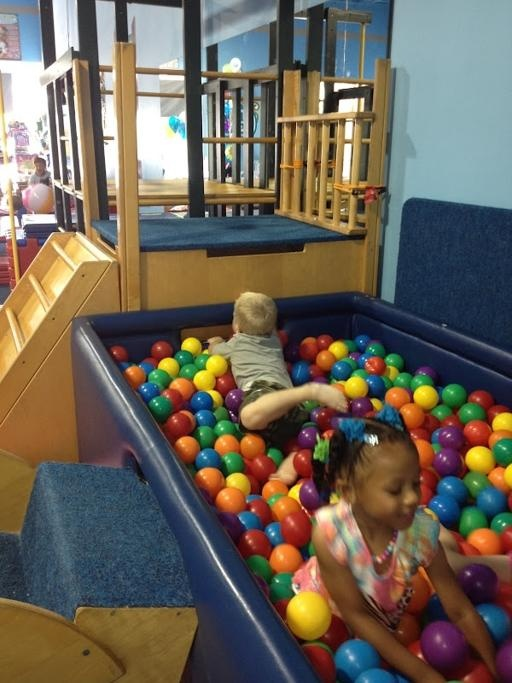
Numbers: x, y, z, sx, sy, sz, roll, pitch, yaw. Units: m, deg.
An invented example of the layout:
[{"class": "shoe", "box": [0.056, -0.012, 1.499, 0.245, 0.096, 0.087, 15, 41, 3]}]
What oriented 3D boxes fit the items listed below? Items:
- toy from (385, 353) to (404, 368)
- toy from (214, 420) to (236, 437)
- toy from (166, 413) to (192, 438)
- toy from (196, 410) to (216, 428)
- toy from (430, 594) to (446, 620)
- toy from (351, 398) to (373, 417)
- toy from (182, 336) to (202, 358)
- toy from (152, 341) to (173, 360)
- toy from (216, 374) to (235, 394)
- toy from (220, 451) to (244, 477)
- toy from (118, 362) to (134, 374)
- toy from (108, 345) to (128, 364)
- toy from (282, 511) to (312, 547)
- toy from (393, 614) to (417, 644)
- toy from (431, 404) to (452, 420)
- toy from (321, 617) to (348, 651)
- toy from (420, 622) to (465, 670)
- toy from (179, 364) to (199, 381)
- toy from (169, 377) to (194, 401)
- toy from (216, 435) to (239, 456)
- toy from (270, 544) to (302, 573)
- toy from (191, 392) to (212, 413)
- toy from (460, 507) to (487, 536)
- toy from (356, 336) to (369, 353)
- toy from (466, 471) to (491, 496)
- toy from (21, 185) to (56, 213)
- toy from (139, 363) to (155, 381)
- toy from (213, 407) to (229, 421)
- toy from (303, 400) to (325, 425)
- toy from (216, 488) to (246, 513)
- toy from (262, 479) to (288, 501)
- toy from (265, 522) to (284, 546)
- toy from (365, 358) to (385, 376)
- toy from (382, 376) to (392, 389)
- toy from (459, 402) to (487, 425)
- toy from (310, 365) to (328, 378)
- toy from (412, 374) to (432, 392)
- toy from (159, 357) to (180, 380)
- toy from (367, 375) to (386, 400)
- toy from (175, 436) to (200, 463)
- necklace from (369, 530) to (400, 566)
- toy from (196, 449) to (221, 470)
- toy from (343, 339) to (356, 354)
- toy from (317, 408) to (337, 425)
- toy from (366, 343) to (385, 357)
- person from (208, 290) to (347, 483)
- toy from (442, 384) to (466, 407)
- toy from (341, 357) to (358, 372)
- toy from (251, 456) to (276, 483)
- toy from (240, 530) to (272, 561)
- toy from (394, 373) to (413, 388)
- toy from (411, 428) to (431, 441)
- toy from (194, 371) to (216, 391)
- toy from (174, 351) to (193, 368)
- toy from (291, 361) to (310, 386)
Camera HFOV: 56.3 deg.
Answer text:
[{"class": "toy", "box": [0.603, 0.085, 2.280, 0.088, 0.066, 0.080, 14, 10, 38]}, {"class": "toy", "box": [-0.128, 0.340, 1.908, 0.060, 0.069, 0.059, 2, 30, -7]}, {"class": "toy", "box": [-0.282, 0.313, 1.850, 0.081, 0.097, 0.084, -7, 32, 14]}, {"class": "toy", "box": [-0.211, 0.311, 2.017, 0.065, 0.075, 0.066, 5, 50, 26]}, {"class": "toy", "box": [0.351, 0.550, 1.005, 0.038, 0.040, 0.046, -23, -29, 16]}, {"class": "toy", "box": [0.387, 0.258, 1.908, 0.090, 0.061, 0.181, 10, 8, 12]}, {"class": "toy", "box": [-0.304, 0.028, 2.387, 0.085, 0.085, 0.098, -15, 24, 2]}, {"class": "toy", "box": [-0.453, 0.039, 2.377, 0.086, 0.085, 0.100, -16, -3, 43]}, {"class": "toy", "box": [-0.146, 0.187, 2.157, 0.075, 0.090, 0.076, 4, 23, 14]}, {"class": "toy", "box": [-0.089, 0.426, 1.718, 0.069, 0.079, 0.068, -6, 18, -2]}, {"class": "toy", "box": [-0.563, 0.110, 2.144, 0.045, 0.052, 0.044, 3, 22, -20]}, {"class": "toy", "box": [-0.608, 0.046, 2.233, 0.071, 0.083, 0.072, -1, 43, 25]}, {"class": "toy", "box": [0.094, 0.520, 1.319, 0.081, 0.097, 0.070, 9, 7, 6]}, {"class": "toy", "box": [0.285, 0.579, 0.970, 0.043, 0.051, 0.043, 10, -22, 11]}, {"class": "toy", "box": [0.691, 0.274, 1.906, 0.056, 0.065, 0.056, -27, 0, -22]}, {"class": "toy", "box": [0.142, 0.559, 0.924, 0.040, 0.028, 0.051, -38, 27, 2]}, {"class": "toy", "box": [0.297, 0.517, 0.815, 0.063, 0.076, 0.063, -2, 20, 35]}, {"class": "toy", "box": [-0.310, 0.131, 2.229, 0.068, 0.079, 0.068, 9, 24, -11]}, {"class": "toy", "box": [-0.314, 0.194, 2.096, 0.098, 0.112, 0.093, -7, 3, -15]}, {"class": "toy", "box": [-0.114, 0.383, 1.796, 0.067, 0.077, 0.067, 2, 28, -3]}, {"class": "toy", "box": [0.062, 0.553, 1.225, 0.056, 0.057, 0.066, 14, -13, 31]}, {"class": "toy", "box": [-0.230, 0.254, 2.090, 0.083, 0.096, 0.083, 1, 34, -4]}, {"class": "toy", "box": [0.582, 0.511, 1.398, 0.067, 0.081, 0.067, -6, 2, -3]}, {"class": "toy", "box": [0.493, 0.003, 2.493, 0.073, 0.087, 0.074, -1, 26, 4]}, {"class": "toy", "box": [0.656, 0.446, 1.529, 0.053, 0.055, 0.070, 2, 20, -5]}, {"class": "toy", "box": [-3.055, -2.102, 6.973, 0.465, 0.447, 0.337, 7, 7, -7]}, {"class": "toy", "box": [-0.493, 0.131, 2.198, 0.073, 0.084, 0.073, 1, 6, 3]}, {"class": "toy", "box": [-0.150, 0.301, 2.027, 0.042, 0.042, 0.056, 3, 28, -13]}, {"class": "toy", "box": [0.199, 0.285, 1.955, 0.078, 0.093, 0.079, -4, -23, -2]}, {"class": "toy", "box": [-0.082, 0.473, 1.442, 0.074, 0.064, 0.065, 11, -2, 43]}, {"class": "toy", "box": [0.048, 0.490, 1.618, 0.061, 0.070, 0.061, -1, 16, -4]}, {"class": "toy", "box": [0.038, 0.538, 1.353, 0.043, 0.050, 0.042, -11, 63, -7]}, {"class": "toy", "box": [0.503, 0.106, 2.187, 0.079, 0.079, 0.079, 0, -12, -6]}, {"class": "toy", "box": [0.543, 0.179, 2.150, 0.031, 0.036, 0.031, -30, 31, 4]}, {"class": "toy", "box": [0.746, 0.259, 1.778, 0.080, 0.093, 0.077, 13, -4, 8]}, {"class": "toy", "box": [0.264, 0.139, 2.291, 0.057, 0.066, 0.057, -31, 11, -19]}, {"class": "toy", "box": [0.649, 0.163, 2.029, 0.067, 0.078, 0.068, 3, 29, -7]}, {"class": "toy", "box": [-0.397, 0.111, 2.233, 0.089, 0.102, 0.089, -8, 15, -22]}, {"class": "toy", "box": [0.486, 0.193, 2.155, 0.093, 0.111, 0.094, -7, 13, 0]}, {"class": "toy", "box": [-0.245, 0.384, 1.728, 0.085, 0.097, 0.083, -1, 12, -6]}, {"class": "necklace", "box": [0.209, 0.359, 0.840, 0.011, 0.049, 0.040, 36, 30, 17]}, {"class": "toy", "box": [-0.171, 0.406, 1.679, 0.070, 0.080, 0.070, 0, 36, 2]}, {"class": "toy", "box": [0.444, 0.017, 2.451, 0.061, 0.072, 0.060, -19, -16, -3]}, {"class": "toy", "box": [0.250, 0.285, 1.890, 0.061, 0.070, 0.060, -3, 7, -6]}, {"class": "toy", "box": [0.534, 0.031, 2.356, 0.076, 0.068, 0.109, 15, 10, 41]}, {"class": "person", "box": [0.011, 0.139, 1.977, 0.347, 0.328, 0.802, 2, 34, -25]}, {"class": "toy", "box": [0.729, 0.206, 1.922, 0.100, 0.087, 0.085, -1, 7, 7]}, {"class": "toy", "box": [0.407, 0.104, 2.281, 0.064, 0.074, 0.064, -13, 21, 8]}, {"class": "toy", "box": [0.012, 0.448, 1.762, 0.085, 0.102, 0.087, 5, 34, 17]}, {"class": "toy", "box": [-0.012, 0.520, 1.239, 0.068, 0.080, 0.069, -5, 36, 1]}, {"class": "toy", "box": [0.608, 0.168, 2.147, 0.072, 0.061, 0.061, 27, 58, 33]}, {"class": "toy", "box": [0.578, 0.339, 1.801, 0.054, 0.064, 0.054, 3, 14, 42]}, {"class": "toy", "box": [-0.234, 0.171, 2.201, 0.082, 0.095, 0.083, 12, 23, 23]}, {"class": "toy", "box": [-0.345, 0.074, 2.307, 0.072, 0.082, 0.071, -16, -7, -14]}, {"class": "toy", "box": [0.177, 0.146, 2.260, 0.057, 0.062, 0.119, -4, 22, 7]}]
